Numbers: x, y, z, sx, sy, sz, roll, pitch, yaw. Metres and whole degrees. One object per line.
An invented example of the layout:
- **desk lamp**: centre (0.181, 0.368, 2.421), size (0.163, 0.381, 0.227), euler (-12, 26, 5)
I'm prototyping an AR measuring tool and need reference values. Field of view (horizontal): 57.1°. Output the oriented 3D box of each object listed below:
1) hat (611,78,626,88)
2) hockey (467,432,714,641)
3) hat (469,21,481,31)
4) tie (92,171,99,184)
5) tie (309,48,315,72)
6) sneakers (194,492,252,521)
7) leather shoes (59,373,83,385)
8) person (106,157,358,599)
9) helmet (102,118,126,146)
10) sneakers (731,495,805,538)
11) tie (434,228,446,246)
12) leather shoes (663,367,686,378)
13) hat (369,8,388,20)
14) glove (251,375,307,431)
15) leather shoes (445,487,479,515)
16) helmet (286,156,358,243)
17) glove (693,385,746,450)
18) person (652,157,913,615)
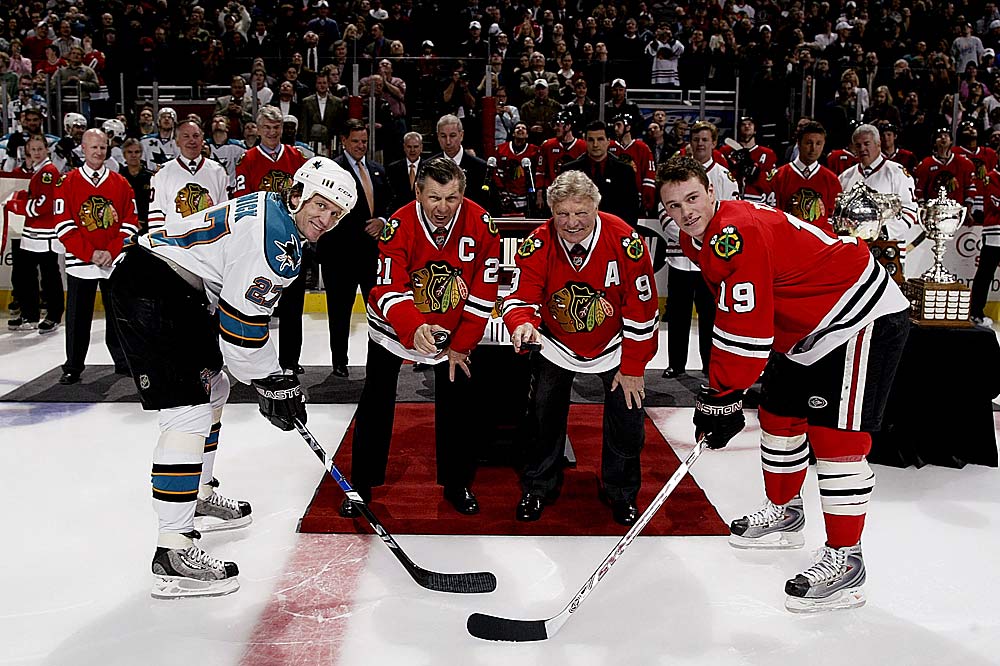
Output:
- **hat**: centre (1.383, -2.896, 10.679), size (0.209, 0.095, 0.323), euler (0, 21, 8)
- **hockey**: centre (0.535, 1.160, 4.528), size (0.555, 0.100, 1.702), euler (12, 43, 45)
- **hat**: centre (-0.333, -4.061, 12.144), size (0.143, 0.153, 0.315), euler (-1, 11, -2)
- **tie**: centre (-3.168, -1.218, 7.175), size (0.070, 0.090, 0.026), euler (-10, 15, -41)
- **tie**: centre (-2.386, -3.466, 11.665), size (0.077, 0.294, 0.012), euler (-3, -8, 7)
- **sneakers**: centre (-1.549, 0.981, 5.175), size (0.374, 0.159, 0.125), euler (0, 1, -10)
- **leather shoes**: centre (-3.387, 0.348, 7.185), size (0.163, 0.083, 0.147), euler (-6, 12, -26)
- **person**: centre (-1.394, 0.184, 4.675), size (1.050, 2.102, 0.710), euler (-5, 12, -23)
- **helmet**: centre (-3.947, -2.049, 9.353), size (0.185, 0.259, 0.290), euler (-5, 12, -21)
- **sneakers**: centre (1.390, 0.997, 5.001), size (0.473, 0.278, 0.169), euler (1, 1, 2)
- **tie**: centre (-0.328, -0.527, 5.050), size (0.086, 0.103, 0.025), euler (-5, 12, -22)
- **leather shoes**: centre (1.426, 0.327, 7.543), size (0.192, 0.081, 0.069), euler (0, 13, -7)
- **hat**: centre (-1.765, -4.572, 13.165), size (0.243, 0.229, 0.130), euler (0, 25, -7)
- **glove**: centre (-1.061, 0.312, 4.606), size (0.297, 0.272, 0.216), euler (9, 28, 43)
- **leather shoes**: centre (-0.215, 0.932, 5.213), size (0.109, 0.083, 0.198), euler (-18, 27, -32)
- **helmet**: centre (-0.871, -0.641, 4.449), size (0.323, 0.401, 0.153), euler (-2, 11, -9)
- **glove**: centre (1.082, 0.418, 4.518), size (0.315, 0.309, 0.221), euler (0, 3, -17)
- **person**: centre (1.429, 0.214, 4.584), size (1.088, 2.146, 0.727), euler (4, 12, 23)
